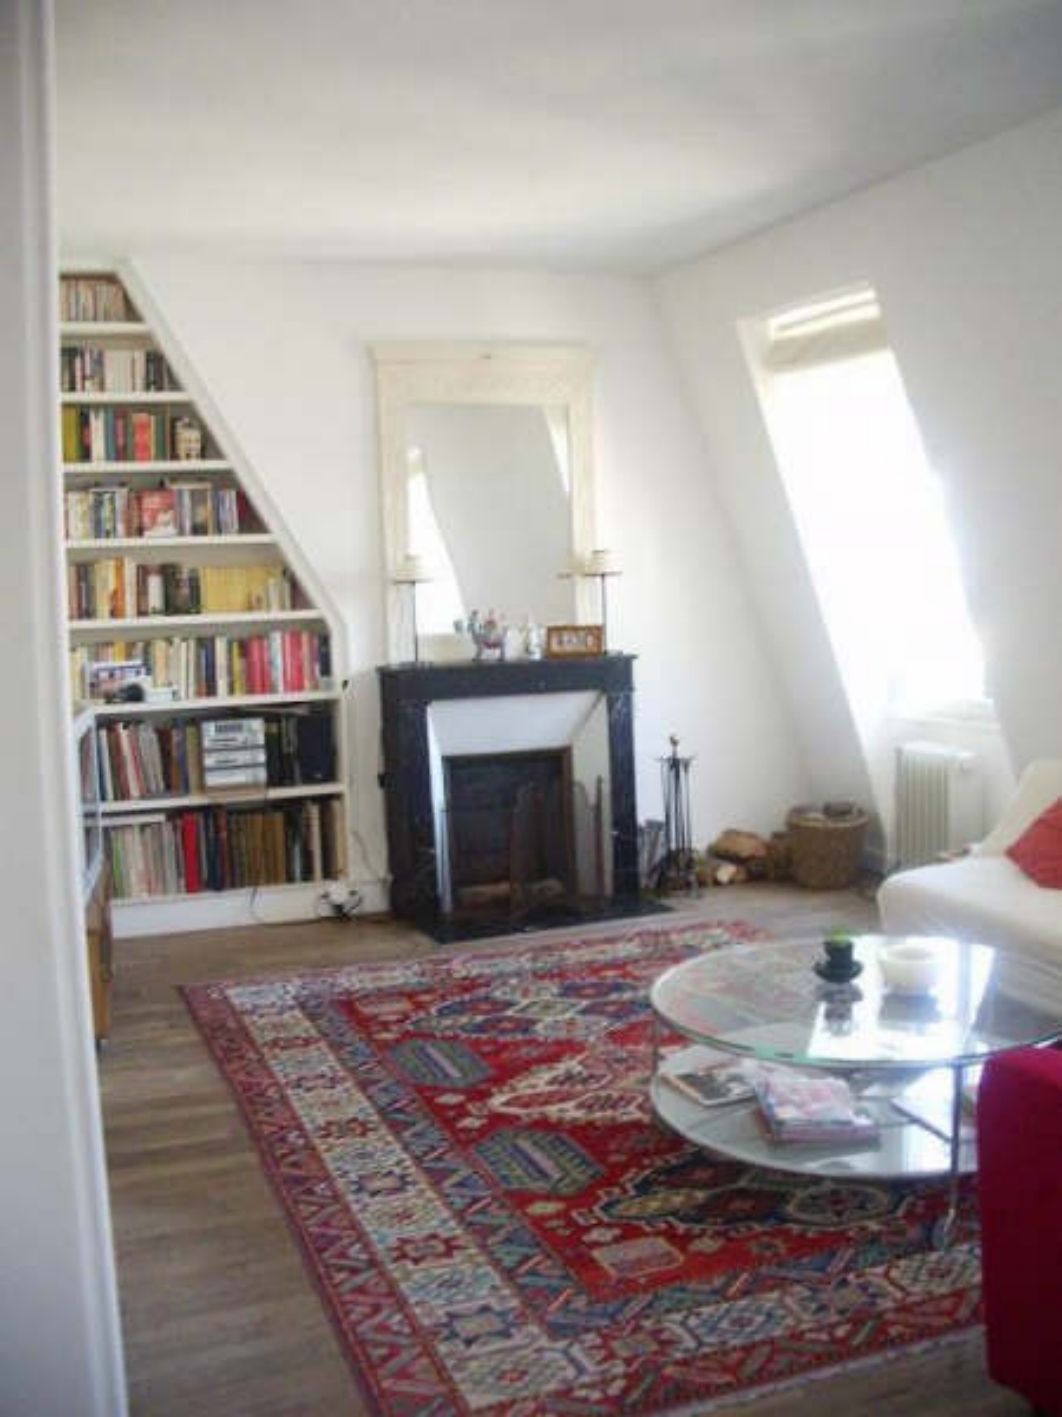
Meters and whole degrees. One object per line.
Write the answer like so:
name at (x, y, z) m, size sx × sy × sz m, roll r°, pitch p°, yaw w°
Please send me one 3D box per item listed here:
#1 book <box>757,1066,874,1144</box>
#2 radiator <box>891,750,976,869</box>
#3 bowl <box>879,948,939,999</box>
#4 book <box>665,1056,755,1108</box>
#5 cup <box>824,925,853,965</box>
book at (0.626, 0.877, 2.578) m, size 0.232 × 0.052 × 0.225 m, roll 1°, pitch 15°, yaw -5°
radiator at (1.657, 0.404, 4.797) m, size 0.130 × 0.511 × 0.470 m, roll -4°, pitch 10°, yaw -23°
bowl at (0.870, 0.596, 2.704) m, size 0.110 × 0.070 × 0.109 m, roll 0°, pitch 9°, yaw 0°
book at (0.431, 0.892, 2.789) m, size 0.197 × 0.021 × 0.215 m, roll -5°, pitch 12°, yaw -20°
cup at (0.706, 0.556, 2.748) m, size 0.062 × 0.058 × 0.062 m, roll 0°, pitch 19°, yaw 0°
